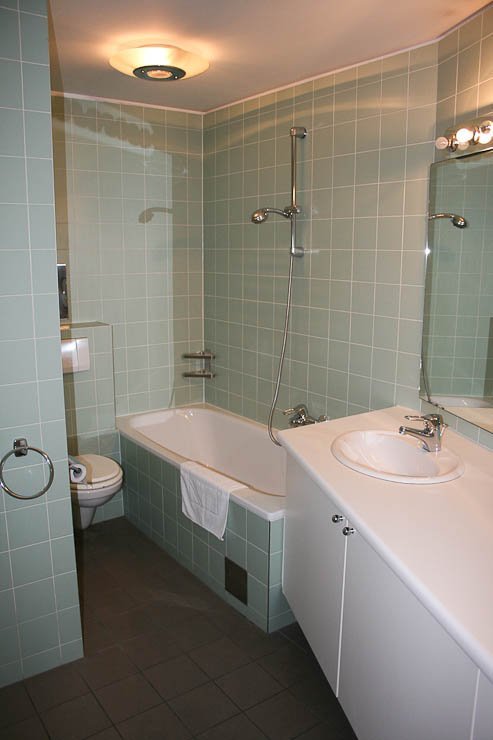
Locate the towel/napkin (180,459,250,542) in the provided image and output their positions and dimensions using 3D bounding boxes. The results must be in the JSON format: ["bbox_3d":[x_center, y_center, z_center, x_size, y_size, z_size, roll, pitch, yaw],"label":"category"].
[{"bbox_3d":[-0.155,0.617,2.485,0.114,0.243,0.342,-9,13,-33],"label":"towel/napkin"}]

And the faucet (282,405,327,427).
[{"bbox_3d":[0.291,0.250,2.882,0.133,0.081,0.153,-5,9,-38],"label":"faucet"}]

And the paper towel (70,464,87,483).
[{"bbox_3d":[-0.823,0.494,2.636,0.096,0.107,0.037,-18,-12,33],"label":"paper towel"}]
